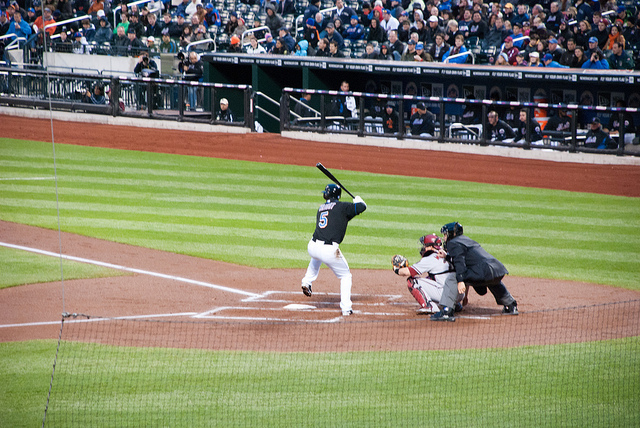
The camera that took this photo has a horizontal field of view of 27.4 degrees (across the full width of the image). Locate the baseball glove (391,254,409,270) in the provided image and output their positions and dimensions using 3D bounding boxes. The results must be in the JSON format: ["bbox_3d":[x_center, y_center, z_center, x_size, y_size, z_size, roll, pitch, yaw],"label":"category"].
[{"bbox_3d":[1.789,1.018,29.130,0.334,0.256,0.265,1,7,4],"label":"baseball glove"}]

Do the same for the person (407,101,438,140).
[{"bbox_3d":[3.120,-2.899,40.887,1.008,1.256,0.808,7,5,35],"label":"person"}]

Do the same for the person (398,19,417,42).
[{"bbox_3d":[2.851,-5.986,42.618,0.751,0.930,0.466,4,28,12],"label":"person"}]

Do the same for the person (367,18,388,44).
[{"bbox_3d":[1.912,-6.042,42.867,0.635,0.779,0.735,1,6,2],"label":"person"}]

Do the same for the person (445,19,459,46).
[{"bbox_3d":[4.197,-5.826,41.738,0.395,0.806,0.723,0,7,-7],"label":"person"}]

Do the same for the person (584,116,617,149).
[{"bbox_3d":[8.170,-2.374,38.004,0.391,0.864,0.660,-15,20,-11],"label":"person"}]

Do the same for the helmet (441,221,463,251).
[{"bbox_3d":[2.865,0.373,29.061,0.581,0.587,0.467,-1,-11,-18],"label":"helmet"}]

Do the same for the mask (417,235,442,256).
[{"bbox_3d":[2.438,0.628,29.300,0.360,0.513,0.362,5,8,14],"label":"mask"}]

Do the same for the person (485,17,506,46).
[{"bbox_3d":[5.549,-5.768,41.391,0.480,0.806,0.527,-29,52,-34],"label":"person"}]

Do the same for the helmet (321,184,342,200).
[{"bbox_3d":[0.286,-0.541,29.213,0.331,0.338,0.266,10,2,9],"label":"helmet"}]

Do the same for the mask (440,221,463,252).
[{"bbox_3d":[3.058,0.469,29.035,0.472,0.670,0.630,-2,-4,-29],"label":"mask"}]
